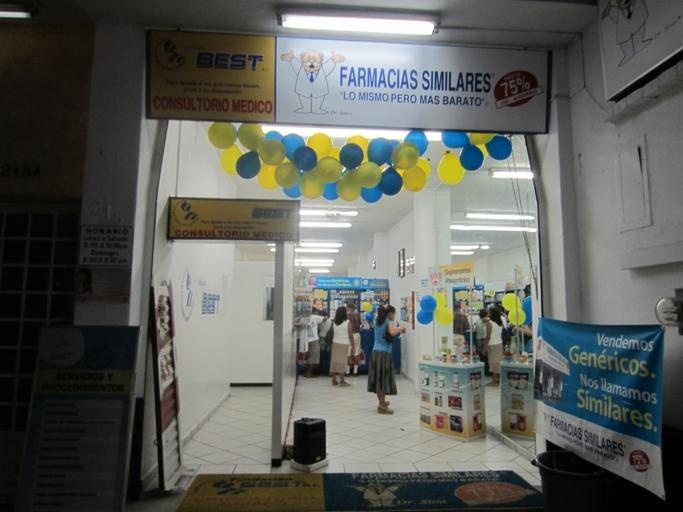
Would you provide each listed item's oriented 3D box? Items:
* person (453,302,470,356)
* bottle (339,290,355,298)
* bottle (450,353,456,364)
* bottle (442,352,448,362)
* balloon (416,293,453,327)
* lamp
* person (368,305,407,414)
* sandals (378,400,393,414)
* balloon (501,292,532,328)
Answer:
[{"bbox_3d":[1.798,1.054,7.621,0.229,0.691,1.621,0,-4,12],"label":"person"},{"bbox_3d":[0.144,1.031,13.451,0.253,0.265,0.068,0,-3,24],"label":"bottle"},{"bbox_3d":[1.508,1.394,6.863,0.078,0.148,0.091,1,-3,-11],"label":"bottle"},{"bbox_3d":[1.412,1.371,6.890,0.082,0.127,0.210,0,-4,7],"label":"bottle"},{"bbox_3d":[1.286,0.741,7.092,0.518,0.441,0.370,3,-4,-30],"label":"balloon"},{"bbox_3d":[0.174,-2.222,4.791,1.503,0.160,0.180,1,-4,-3],"label":"lamp"},{"bbox_3d":[0.673,1.617,7.960,0.498,1.673,0.648,0,-4,4],"label":"person"},{"bbox_3d":[0.699,2.373,7.954,0.112,0.176,0.392,-1,-2,12],"label":"sandals"},{"bbox_3d":[2.525,0.785,7.394,0.278,0.462,0.682,0,-4,6],"label":"balloon"}]
